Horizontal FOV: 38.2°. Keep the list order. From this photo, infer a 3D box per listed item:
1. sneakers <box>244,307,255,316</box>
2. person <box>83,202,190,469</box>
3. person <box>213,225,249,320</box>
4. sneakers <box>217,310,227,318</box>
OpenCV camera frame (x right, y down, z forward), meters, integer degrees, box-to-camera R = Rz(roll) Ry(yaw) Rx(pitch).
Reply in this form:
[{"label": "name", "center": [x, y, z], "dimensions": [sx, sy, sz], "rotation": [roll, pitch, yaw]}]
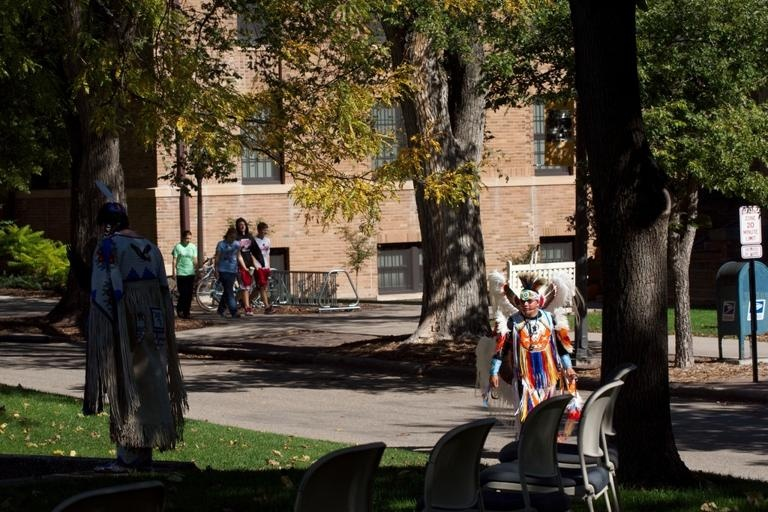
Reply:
[{"label": "sneakers", "center": [-3.538, 1.465, 28.840], "dimensions": [0.124, 0.175, 0.370], "rotation": [0, -3, -36]}, {"label": "person", "center": [-2.821, 0.956, 12.544], "dimensions": [1.110, 2.481, 0.291], "rotation": [0, -1, -17]}, {"label": "person", "center": [-3.878, 0.430, 27.960], "dimensions": [0.717, 2.273, 1.460], "rotation": [0, -2, -7]}, {"label": "sneakers", "center": [-4.132, 1.497, 28.345], "dimensions": [0.148, 0.208, 0.436], "rotation": [2, 4, -13]}]
